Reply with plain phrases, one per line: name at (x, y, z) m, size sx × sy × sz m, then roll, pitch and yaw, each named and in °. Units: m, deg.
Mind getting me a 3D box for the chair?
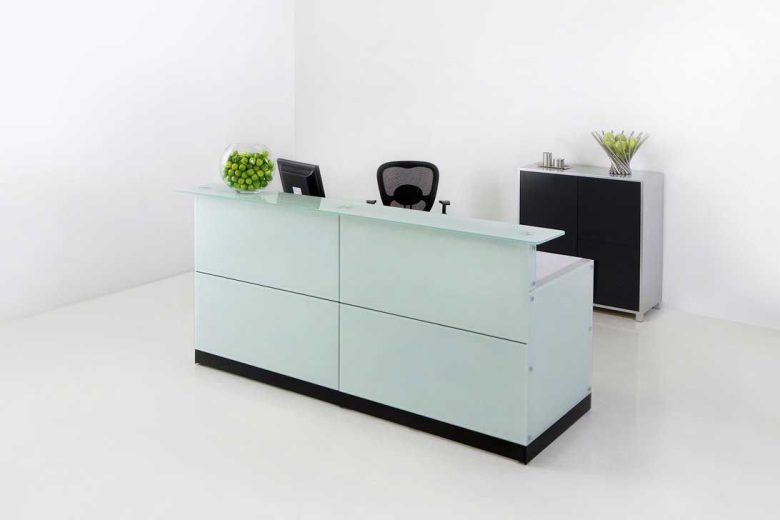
chair at (0.248, -0.879, 6.903) m, size 0.787 × 0.566 × 0.274 m, roll 2°, pitch 14°, yaw -2°
